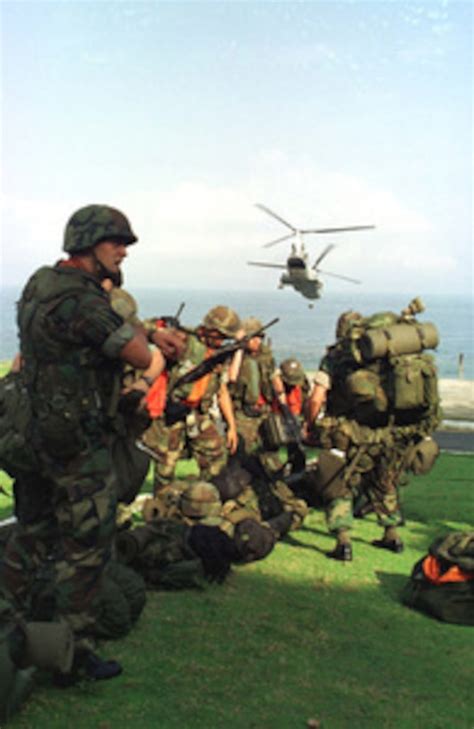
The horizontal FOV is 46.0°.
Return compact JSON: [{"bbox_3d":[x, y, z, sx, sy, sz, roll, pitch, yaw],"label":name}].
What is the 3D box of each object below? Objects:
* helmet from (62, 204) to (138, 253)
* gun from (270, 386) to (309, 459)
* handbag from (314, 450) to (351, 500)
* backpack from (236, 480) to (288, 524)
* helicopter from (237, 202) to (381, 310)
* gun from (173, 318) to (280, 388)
[{"bbox_3d":[-0.777,-0.735,3.069,0.415,0.241,0.336,-7,2,-22],"label":"helmet"},{"bbox_3d":[0.784,0.805,7.033,0.510,0.994,0.487,0,10,-23],"label":"gun"},{"bbox_3d":[0.911,1.080,5.354,0.346,0.448,0.286,2,10,4],"label":"handbag"},{"bbox_3d":[0.178,1.313,5.397,0.492,0.317,0.358,-1,10,-33],"label":"backpack"},{"bbox_3d":[4.913,-6.503,38.829,9.205,3.610,13.134,2,-10,12],"label":"helicopter"},{"bbox_3d":[-0.059,-0.121,5.685,1.240,0.338,0.159,-33,19,-11],"label":"gun"}]
